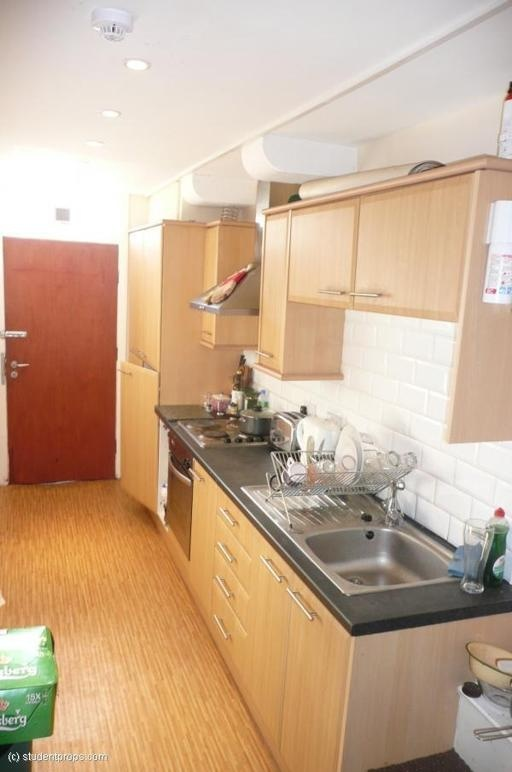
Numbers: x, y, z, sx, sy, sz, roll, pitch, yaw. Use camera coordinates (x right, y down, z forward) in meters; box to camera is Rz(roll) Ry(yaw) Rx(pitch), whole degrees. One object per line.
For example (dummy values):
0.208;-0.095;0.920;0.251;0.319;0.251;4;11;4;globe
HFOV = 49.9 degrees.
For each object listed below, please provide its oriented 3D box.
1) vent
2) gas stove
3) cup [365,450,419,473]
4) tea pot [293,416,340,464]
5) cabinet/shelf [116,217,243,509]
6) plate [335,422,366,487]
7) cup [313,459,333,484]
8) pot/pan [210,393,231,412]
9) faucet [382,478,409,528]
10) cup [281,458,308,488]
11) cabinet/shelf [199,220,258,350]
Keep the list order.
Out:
-0.077;-0.757;3.076;0.365;0.708;0.367;7;12;-12;vent
-0.223;0.354;3.229;0.500;0.217;0.601;0;8;-20;gas stove
0.502;0.278;2.048;0.077;0.047;0.133;-1;3;-7;cup
0.269;0.236;2.405;0.049;0.155;0.161;3;16;-23;tea pot
-0.664;-0.178;4.194;0.660;2.047;0.891;-5;17;-32;cabinet/shelf
0.394;0.269;2.138;0.041;0.204;0.187;4;-3;-16;plate
0.257;0.317;2.098;0.072;0.064;0.190;3;7;7;cup
-0.247;0.100;3.703;0.090;0.098;0.125;1;24;-6;pot/pan
0.507;0.416;1.997;0.070;0.169;0.076;0;7;-17;faucet
0.143;0.333;2.093;0.060;0.115;0.037;-17;-11;23;cup
-0.213;-0.739;3.600;0.198;0.621;0.333;7;-1;-15;cabinet/shelf
